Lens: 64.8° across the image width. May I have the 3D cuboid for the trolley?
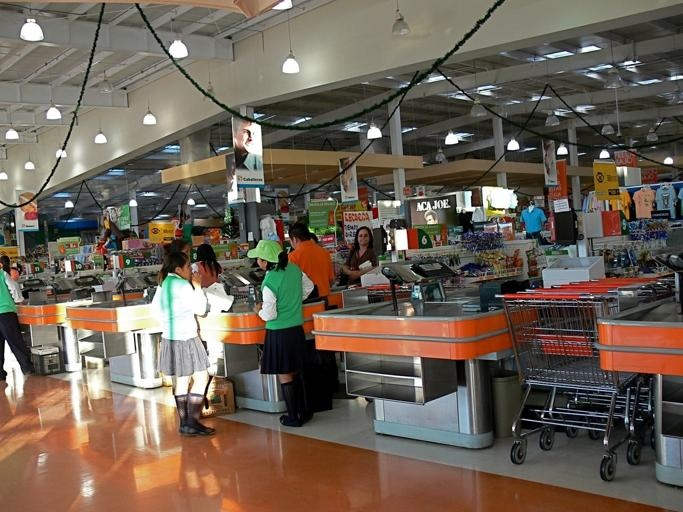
[{"bbox_3d":[2.271,0.717,4.326,1.054,1.440,1.968,0,14,42],"label":"trolley"}]

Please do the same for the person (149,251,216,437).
[{"bbox_3d":[-1.508,0.855,5.230,0.574,1.726,0.364,-7,2,1],"label":"person"}]

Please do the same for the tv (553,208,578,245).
[{"bbox_3d":[2.347,-0.308,5.476,0.260,0.344,0.257,-6,3,-29],"label":"tv"}]

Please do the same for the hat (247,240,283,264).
[{"bbox_3d":[-0.744,-0.052,5.362,0.346,0.155,0.216,6,20,11],"label":"hat"}]

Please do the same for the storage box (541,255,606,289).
[{"bbox_3d":[2.058,0.135,4.891,0.501,0.401,0.348,-5,-7,41],"label":"storage box"}]

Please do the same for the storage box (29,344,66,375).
[{"bbox_3d":[-4.866,1.674,8.706,0.609,0.482,0.413,-5,5,-33],"label":"storage box"}]

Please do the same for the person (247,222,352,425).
[{"bbox_3d":[-0.536,0.743,5.562,0.512,1.731,0.937,-7,2,11],"label":"person"}]

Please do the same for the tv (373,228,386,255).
[{"bbox_3d":[0.544,-0.203,7.577,0.189,0.321,0.243,-7,2,-8],"label":"tv"}]
